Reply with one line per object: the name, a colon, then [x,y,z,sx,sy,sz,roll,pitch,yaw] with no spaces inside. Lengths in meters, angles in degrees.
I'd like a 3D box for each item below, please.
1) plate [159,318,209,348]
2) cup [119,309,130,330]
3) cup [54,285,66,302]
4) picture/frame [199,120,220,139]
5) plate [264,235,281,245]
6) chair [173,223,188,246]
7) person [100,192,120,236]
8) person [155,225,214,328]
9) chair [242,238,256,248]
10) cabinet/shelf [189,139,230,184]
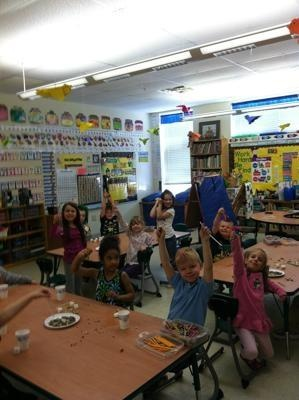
plate: [0.167,0.658,1.461,0.101,0.041,0.133,-3,3,-44]
cup: [-0.154,0.676,1.633,0.060,0.088,0.090,-1,2,-8]
cup: [-0.661,0.703,2.232,0.072,0.080,0.108,-2,-6,17]
picture/frame: [1.849,-2.130,8.885,0.711,0.700,0.032,1,-4,32]
plate: [1.631,0.521,3.886,0.117,0.062,0.159,0,4,1]
chair: [0.612,0.634,5.384,0.309,0.452,0.305,0,0,24]
person: [-0.642,0.368,4.797,0.310,0.318,1.124,12,35,-18]
person: [0.236,0.679,1.949,0.342,1.037,0.214,6,9,22]
chair: [1.376,0.599,4.045,0.171,0.109,0.122,-4,3,-40]
cabinet/shelf: [1.798,-1.235,8.753,1.165,1.065,0.487,-4,1,12]
